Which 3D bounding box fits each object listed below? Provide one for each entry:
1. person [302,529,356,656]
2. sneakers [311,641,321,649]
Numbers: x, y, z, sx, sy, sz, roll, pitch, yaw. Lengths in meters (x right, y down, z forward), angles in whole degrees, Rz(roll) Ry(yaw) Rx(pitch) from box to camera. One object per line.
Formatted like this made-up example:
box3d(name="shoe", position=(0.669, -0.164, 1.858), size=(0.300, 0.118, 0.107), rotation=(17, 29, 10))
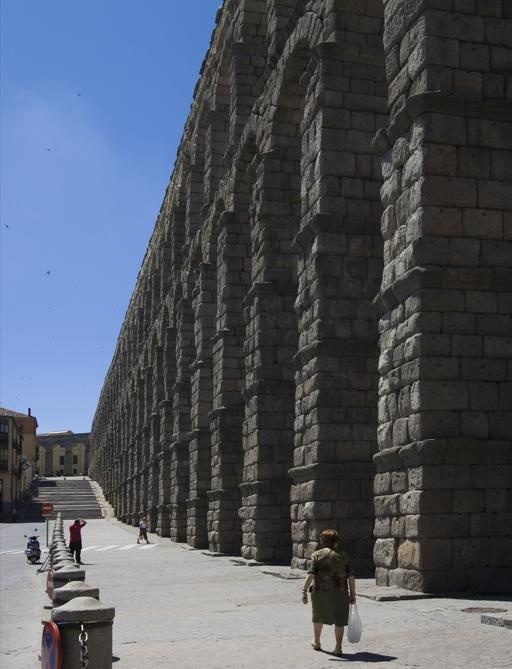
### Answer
box3d(name="person", position=(0.688, 2.454, 11.236), size=(0.479, 1.154, 0.846), rotation=(-1, -13, 4))
box3d(name="sneakers", position=(0.553, 2.924, 10.954), size=(0.085, 0.063, 0.158), rotation=(0, -14, 1))
